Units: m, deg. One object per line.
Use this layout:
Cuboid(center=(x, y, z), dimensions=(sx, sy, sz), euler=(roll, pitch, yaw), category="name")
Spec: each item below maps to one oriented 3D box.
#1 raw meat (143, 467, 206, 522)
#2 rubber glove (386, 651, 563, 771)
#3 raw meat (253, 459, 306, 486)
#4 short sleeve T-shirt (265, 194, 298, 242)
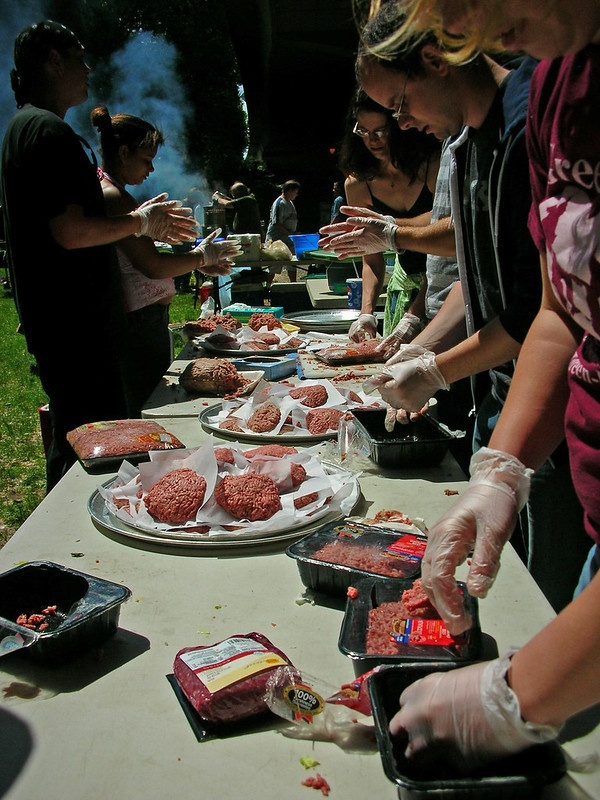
Cuboid(center=(-0.288, 0.225, 1.470), dimensions=(0.110, 0.041, 0.129), euler=(5, 33, 29), category="raw meat")
Cuboid(center=(0.222, 0.413, 0.844), dimensions=(0.204, 0.064, 0.111), euler=(-25, -30, 22), category="rubber glove")
Cuboid(center=(-0.050, 0.174, 1.617), dimensions=(0.100, 0.032, 0.074), euler=(10, 8, 11), category="raw meat")
Cuboid(center=(-0.334, -3.470, 12.149), dimensions=(0.504, 0.882, 0.828), euler=(-1, 22, -2), category="short sleeve T-shirt")
